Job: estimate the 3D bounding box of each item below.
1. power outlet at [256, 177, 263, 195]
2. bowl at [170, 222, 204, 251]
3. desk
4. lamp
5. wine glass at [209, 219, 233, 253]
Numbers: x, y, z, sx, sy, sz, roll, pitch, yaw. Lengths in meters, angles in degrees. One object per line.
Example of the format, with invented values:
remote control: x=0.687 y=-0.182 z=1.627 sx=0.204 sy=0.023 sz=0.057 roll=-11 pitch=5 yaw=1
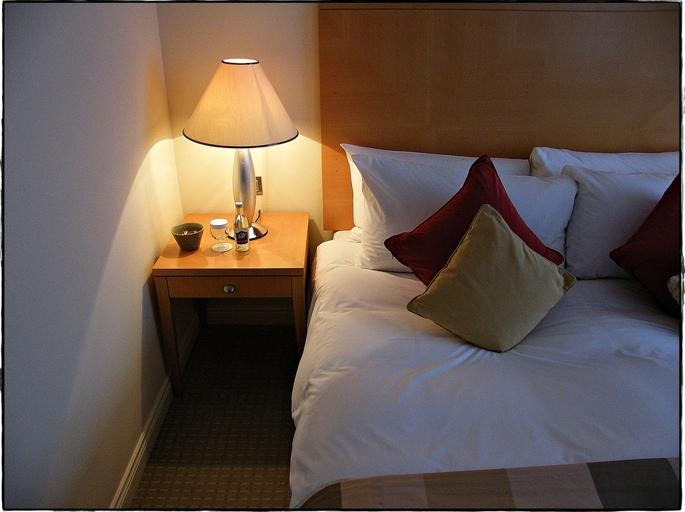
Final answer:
power outlet: x=-0.427 y=-0.347 z=2.645 sx=0.063 sy=0.076 sz=0.017 roll=-1 pitch=8 yaw=-15
bowl: x=-0.695 y=-0.085 z=2.378 sx=0.125 sy=0.100 sz=0.135 roll=2 pitch=30 yaw=-1
desk: x=-0.477 y=0.201 z=2.686 sx=0.667 sy=0.737 sz=0.753 roll=-1 pitch=37 yaw=0
lamp: x=-0.464 y=-0.477 z=2.448 sx=0.486 sy=0.771 sz=0.504 roll=-1 pitch=26 yaw=-3
wine glass: x=-0.560 y=-0.084 z=2.423 sx=0.091 sy=0.129 sz=0.100 roll=-10 pitch=42 yaw=-9
